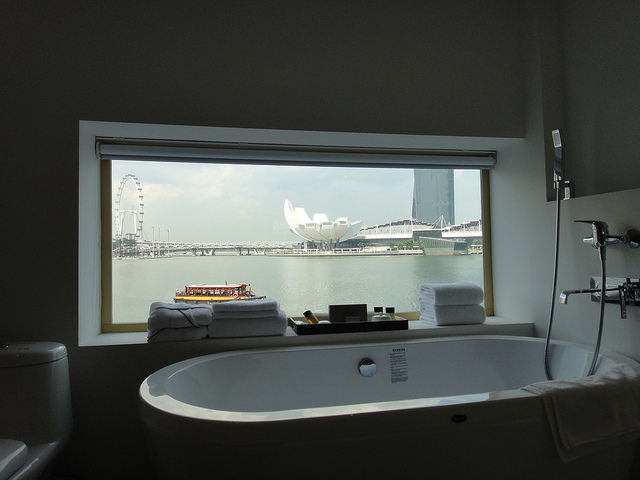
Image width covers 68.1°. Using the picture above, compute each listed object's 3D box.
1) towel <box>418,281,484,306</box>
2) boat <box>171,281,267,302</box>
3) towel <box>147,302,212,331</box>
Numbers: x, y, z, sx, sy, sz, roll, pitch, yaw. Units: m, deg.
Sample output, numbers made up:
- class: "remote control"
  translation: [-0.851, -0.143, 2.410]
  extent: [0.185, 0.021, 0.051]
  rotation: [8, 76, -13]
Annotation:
- class: "towel"
  translation: [0.930, 0.357, 3.349]
  extent: [0.296, 0.160, 0.366]
  rotation: [5, 2, -35]
- class: "boat"
  translation: [-0.763, 0.324, 3.468]
  extent: [0.599, 0.166, 0.189]
  rotation: [-2, 1, -11]
- class: "towel"
  translation: [-0.848, 0.449, 2.937]
  extent: [0.319, 0.172, 0.315]
  rotation: [7, 1, 2]
